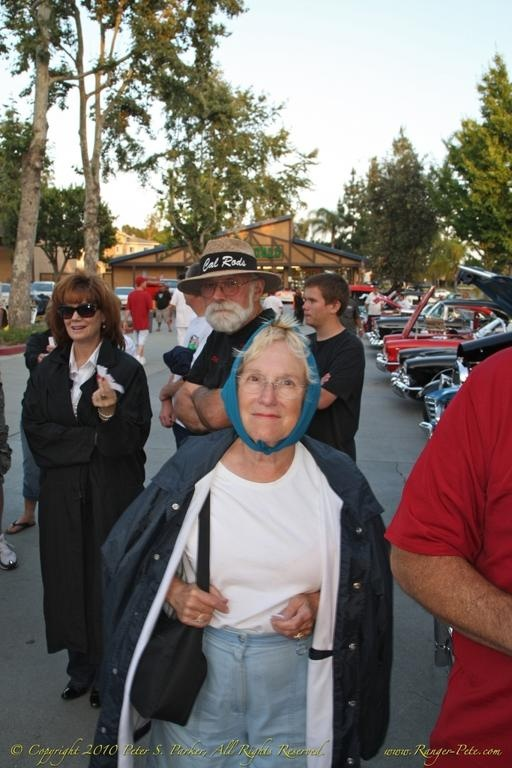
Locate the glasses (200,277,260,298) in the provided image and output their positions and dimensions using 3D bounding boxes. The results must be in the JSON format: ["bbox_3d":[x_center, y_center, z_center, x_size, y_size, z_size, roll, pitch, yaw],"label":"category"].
[{"bbox_3d":[-0.114,-0.465,2.828,0.286,0.103,0.167,0,6,-5],"label":"glasses"}]

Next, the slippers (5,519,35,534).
[{"bbox_3d":[-2.009,1.222,5.002,0.074,0.054,0.198,-1,-4,29],"label":"slippers"}]

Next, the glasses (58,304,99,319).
[{"bbox_3d":[-0.878,-0.364,2.917,0.177,0.079,0.099,-1,6,-17],"label":"glasses"}]

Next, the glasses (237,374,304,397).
[{"bbox_3d":[0.046,0.005,1.782,0.195,0.066,0.045,1,6,0],"label":"glasses"}]

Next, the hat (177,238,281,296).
[{"bbox_3d":[-0.116,-0.591,2.920,0.332,0.175,0.334,-1,4,12],"label":"hat"}]
